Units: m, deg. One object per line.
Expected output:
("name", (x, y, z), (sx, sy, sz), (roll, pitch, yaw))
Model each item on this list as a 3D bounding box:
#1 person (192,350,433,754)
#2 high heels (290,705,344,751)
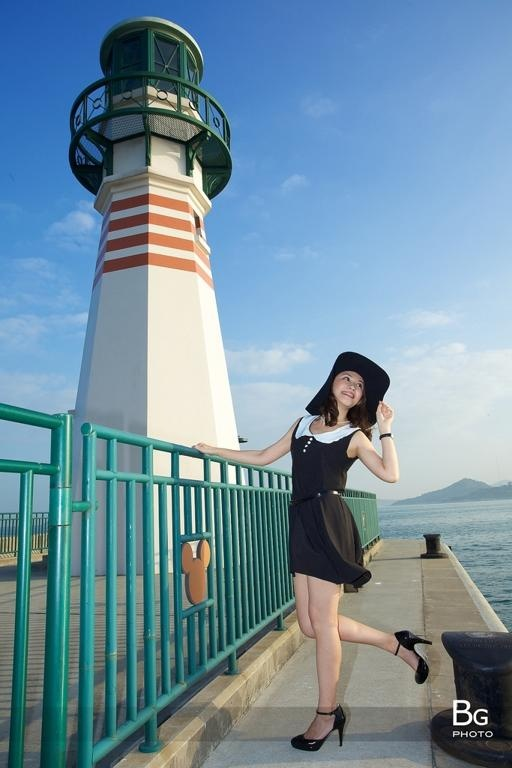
("person", (0.441, 0.841, 2.667), (0.852, 2.042, 0.816), (-6, -8, 17))
("high heels", (0.285, 1.671, 2.377), (0.273, 0.241, 0.134), (6, -23, -5))
